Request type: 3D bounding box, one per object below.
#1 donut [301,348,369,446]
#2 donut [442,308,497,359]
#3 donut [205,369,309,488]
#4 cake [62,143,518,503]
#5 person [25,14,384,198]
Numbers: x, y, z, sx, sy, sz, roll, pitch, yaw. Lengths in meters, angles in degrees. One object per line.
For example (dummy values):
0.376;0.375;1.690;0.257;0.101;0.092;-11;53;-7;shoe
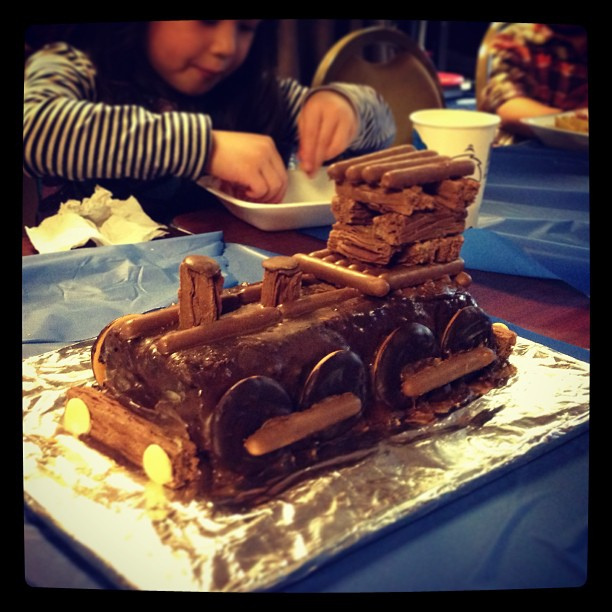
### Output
0.040;0.123;0.777;0.035;0.122;0.130;1;3;34;donut
0.286;0.044;0.970;0.105;0.073;0.037;-4;20;24;donut
-0.064;0.146;0.707;0.148;0.137;0.033;18;-9;-28;donut
-0.002;-0.014;0.881;0.686;0.380;0.370;-15;24;-33;cake
-0.142;-0.367;1.261;0.878;0.303;0.472;-7;8;-18;person
